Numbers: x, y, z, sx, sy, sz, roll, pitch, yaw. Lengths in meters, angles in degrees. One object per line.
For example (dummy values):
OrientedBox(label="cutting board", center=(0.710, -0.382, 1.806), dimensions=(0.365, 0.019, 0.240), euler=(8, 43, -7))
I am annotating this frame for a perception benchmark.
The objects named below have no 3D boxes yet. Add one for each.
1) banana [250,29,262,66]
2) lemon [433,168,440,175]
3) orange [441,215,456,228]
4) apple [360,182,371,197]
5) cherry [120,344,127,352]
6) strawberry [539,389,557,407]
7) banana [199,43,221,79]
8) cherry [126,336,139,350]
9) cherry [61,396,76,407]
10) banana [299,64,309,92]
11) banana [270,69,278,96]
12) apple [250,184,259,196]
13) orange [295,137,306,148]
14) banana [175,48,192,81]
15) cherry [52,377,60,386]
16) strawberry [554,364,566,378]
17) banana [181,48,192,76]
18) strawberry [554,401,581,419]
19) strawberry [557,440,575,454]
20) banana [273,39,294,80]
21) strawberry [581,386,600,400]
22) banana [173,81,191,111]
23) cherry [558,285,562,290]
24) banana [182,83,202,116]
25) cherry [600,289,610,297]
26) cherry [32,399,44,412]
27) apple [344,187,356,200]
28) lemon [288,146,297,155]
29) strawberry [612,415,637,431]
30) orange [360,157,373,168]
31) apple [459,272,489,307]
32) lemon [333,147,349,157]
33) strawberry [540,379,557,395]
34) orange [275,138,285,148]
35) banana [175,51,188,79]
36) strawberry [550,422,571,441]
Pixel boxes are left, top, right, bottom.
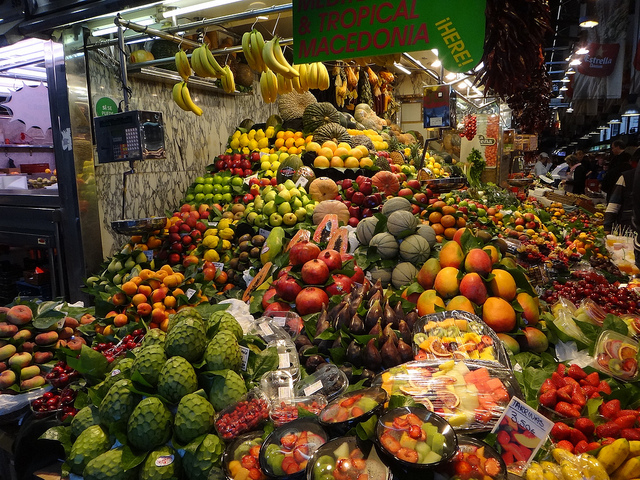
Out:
OrientedBox(label="banana", center=(-0.548, -1.668, 3.580), dimensions=(0.059, 0.261, 0.093), euler=(6, 31, 23))
OrientedBox(label="lemon", center=(1.833, -1.079, 6.550), dimensions=(0.100, 0.126, 0.099), euler=(-1, 4, -35))
OrientedBox(label="orange", center=(0.963, -0.142, 3.125), dimensions=(0.086, 0.108, 0.089), euler=(-20, 30, 4))
OrientedBox(label="apple", center=(0.413, -0.465, 3.771), dimensions=(0.100, 0.128, 0.099), euler=(-1, -5, -34))
OrientedBox(label="cherry", center=(-1.219, 0.674, 2.575), dimensions=(0.032, 0.042, 0.033), euler=(-4, -2, -6))
OrientedBox(label="strawberry", center=(1.070, 0.747, 1.942), dimensions=(0.068, 0.057, 0.069), euler=(22, 33, 7))
OrientedBox(label="banana", center=(-1.061, -1.694, 3.939), dimensions=(0.125, 0.303, 0.102), euler=(-15, 30, 25))
OrientedBox(label="cherry", center=(-1.176, 0.656, 2.601), dimensions=(0.048, 0.046, 0.073), euler=(1, 38, 15))
OrientedBox(label="cherry", center=(-1.450, 0.926, 2.375), dimensions=(0.064, 0.035, 0.083), euler=(-13, 16, -29))
OrientedBox(label="banana", center=(-0.175, -1.671, 4.230), dimensions=(0.093, 0.294, 0.067), euler=(-12, 22, -29))
OrientedBox(label="banana", center=(-0.471, -1.575, 4.114), dimensions=(0.094, 0.278, 0.067), euler=(-9, 15, -42))
OrientedBox(label="apple", center=(-0.728, -0.555, 4.574), dimensions=(0.096, 0.127, 0.101), euler=(1, 15, 4))
OrientedBox(label="orange", center=(-0.257, -1.264, 5.347), dimensions=(0.099, 0.130, 0.105), euler=(0, 14, 3))
OrientedBox(label="banana", center=(-1.335, -1.714, 4.080), dimensions=(0.096, 0.344, 0.136), euler=(-4, 55, -6))
OrientedBox(label="cherry", center=(-1.596, 0.861, 2.503), dimensions=(0.041, 0.038, 0.047), euler=(-3, -12, 6))
OrientedBox(label="strawberry", center=(1.222, 0.663, 2.107), dimensions=(0.036, 0.041, 0.051), euler=(-18, -20, 3))
OrientedBox(label="banana", center=(-1.301, -1.726, 4.029), dimensions=(0.064, 0.265, 0.094), euler=(-2, 27, 10))
OrientedBox(label="strawberry", center=(1.127, 0.777, 1.897), dimensions=(0.104, 0.040, 0.062), euler=(8, 19, 40))
OrientedBox(label="strawberry", center=(1.060, 0.897, 1.792), dimensions=(0.074, 0.031, 0.066), euler=(-1, 15, 15))
OrientedBox(label="banana", center=(-0.318, -1.525, 3.569), dimensions=(0.074, 0.379, 0.128), euler=(-11, -6, 14))
OrientedBox(label="strawberry", center=(1.287, 0.720, 1.975), dimensions=(0.069, 0.042, 0.054), euler=(-11, 17, -24))
OrientedBox(label="banana", center=(-1.489, -1.527, 4.407), dimensions=(0.191, 0.306, 0.091), euler=(-28, 30, -26))
OrientedBox(label="cherry", center=(1.718, 0.343, 2.970), dimensions=(0.022, 0.023, 0.022), euler=(-11, 16, -38))
OrientedBox(label="banana", center=(-1.383, -1.525, 4.446), dimensions=(0.154, 0.336, 0.220), euler=(-6, 14, -8))
OrientedBox(label="cherry", center=(1.951, 0.362, 2.842), dimensions=(0.047, 0.048, 0.045), euler=(22, -19, -41))
OrientedBox(label="cherry", center=(-1.622, 0.949, 2.371), dimensions=(0.046, 0.043, 0.055), euler=(31, 34, -25))
OrientedBox(label="apple", center=(0.267, -0.429, 3.779), dimensions=(0.089, 0.122, 0.107), euler=(12, 48, -7))
OrientedBox(label="lemon", center=(-0.350, -1.133, 5.241), dimensions=(0.082, 0.089, 0.085), euler=(0, -9, 8))
OrientedBox(label="strawberry", center=(1.338, 0.808, 1.836), dimensions=(0.079, 0.053, 0.055), euler=(-4, -13, -8))
OrientedBox(label="orange", center=(0.489, -0.835, 4.439), dimensions=(0.113, 0.125, 0.142), euler=(-2, -21, 14))
OrientedBox(label="apple", center=(0.887, 0.298, 2.449), dimensions=(0.184, 0.151, 0.145), euler=(11, 6, 30))
OrientedBox(label="lemon", center=(0.225, -0.962, 4.521), dimensions=(0.132, 0.123, 0.118), euler=(2, 39, 5))
OrientedBox(label="strawberry", center=(1.094, 0.709, 1.999), dimensions=(0.048, 0.042, 0.065), euler=(2, 28, 25))
OrientedBox(label="orange", center=(-0.536, -1.283, 5.424), dimensions=(0.112, 0.117, 0.138), euler=(-8, 30, 6))
OrientedBox(label="banana", center=(-1.376, -1.701, 4.100), dimensions=(0.082, 0.291, 0.102), euler=(19, 45, 20))
OrientedBox(label="strawberry", center=(1.057, 0.848, 1.829), dimensions=(0.082, 0.063, 0.037), euler=(-6, 14, -8))
